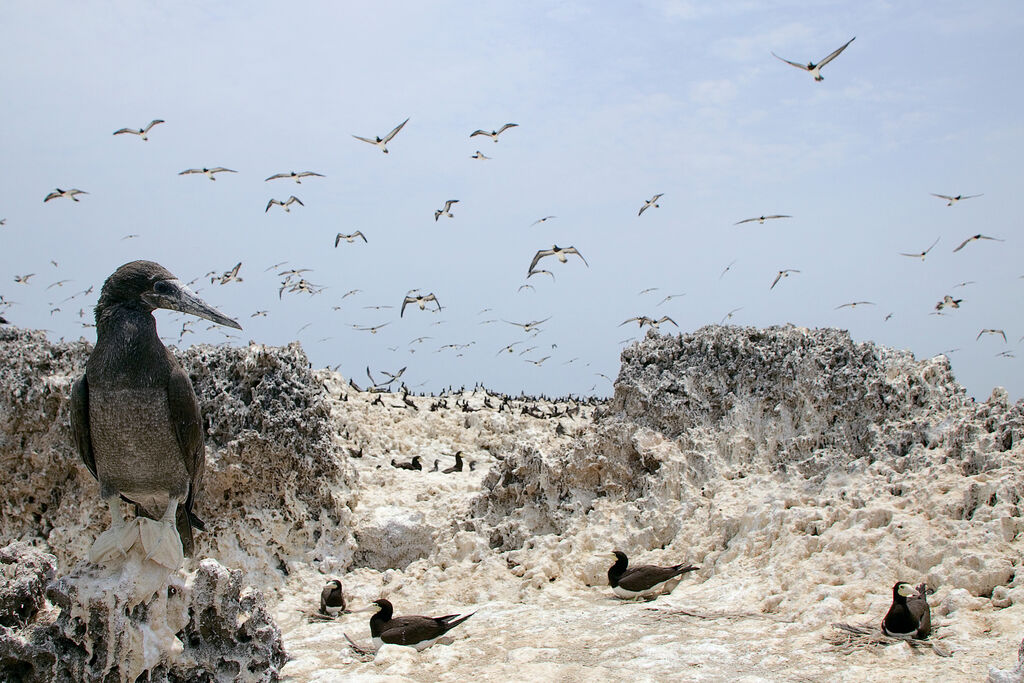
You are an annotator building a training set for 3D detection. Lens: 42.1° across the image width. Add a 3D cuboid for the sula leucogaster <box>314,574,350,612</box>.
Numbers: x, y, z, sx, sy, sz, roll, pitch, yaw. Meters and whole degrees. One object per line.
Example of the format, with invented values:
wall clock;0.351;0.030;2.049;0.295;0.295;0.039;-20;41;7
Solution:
sula leucogaster;-2.982;4.285;22.176;0.481;0.565;0.682;-7;-7;-8
